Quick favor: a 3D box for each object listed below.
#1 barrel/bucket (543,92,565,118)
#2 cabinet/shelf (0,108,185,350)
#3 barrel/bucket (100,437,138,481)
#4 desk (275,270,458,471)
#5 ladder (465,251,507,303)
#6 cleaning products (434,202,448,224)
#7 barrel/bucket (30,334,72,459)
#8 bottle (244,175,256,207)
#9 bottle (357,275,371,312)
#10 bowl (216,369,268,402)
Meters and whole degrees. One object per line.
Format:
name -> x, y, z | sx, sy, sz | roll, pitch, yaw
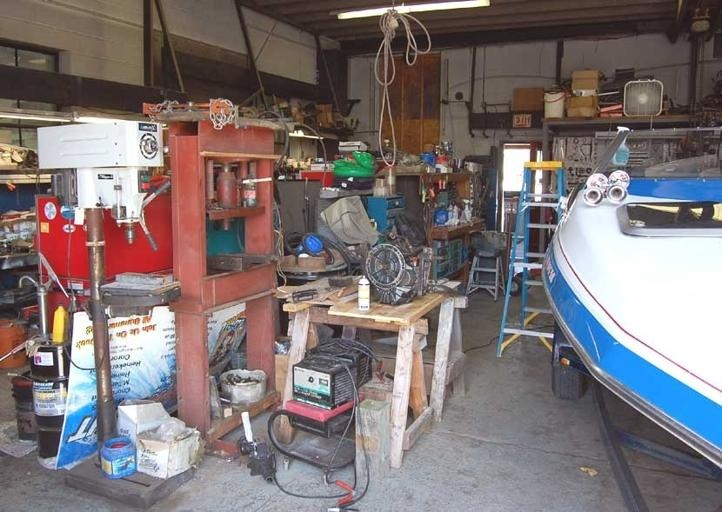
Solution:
barrel/bucket -> 3.016, -2.363, 9.192 | 0.428, 0.420, 0.388 | 0, 6, 7
cabinet/shelf -> -1.704, -0.134, 3.830 | 0.800, 1.460, 0.395 | 1, 12, 14
barrel/bucket -> -1.537, 1.293, 3.698 | 0.215, 0.224, 0.221 | 2, 12, 0
desk -> 0.080, 0.582, 4.558 | 1.133, 1.214, 1.498 | 4, 9, 24
ladder -> 1.742, 0.271, 8.208 | 0.609, 0.841, 0.635 | 0, 2, 12
cleaning products -> 1.032, -0.554, 7.474 | 0.231, 0.257, 0.231 | -1, 2, -22
barrel/bucket -> -2.080, 0.985, 3.946 | 0.276, 0.784, 0.215 | 5, 13, 30
bottle -> -0.822, -0.483, 4.313 | 0.099, 0.212, 0.078 | -6, 12, -25
bottle -> 0.015, 0.259, 4.161 | 0.085, 0.196, 0.248 | -2, 11, -1
bowl -> -0.901, 0.975, 4.393 | 0.270, 0.098, 0.227 | 3, 13, -1
